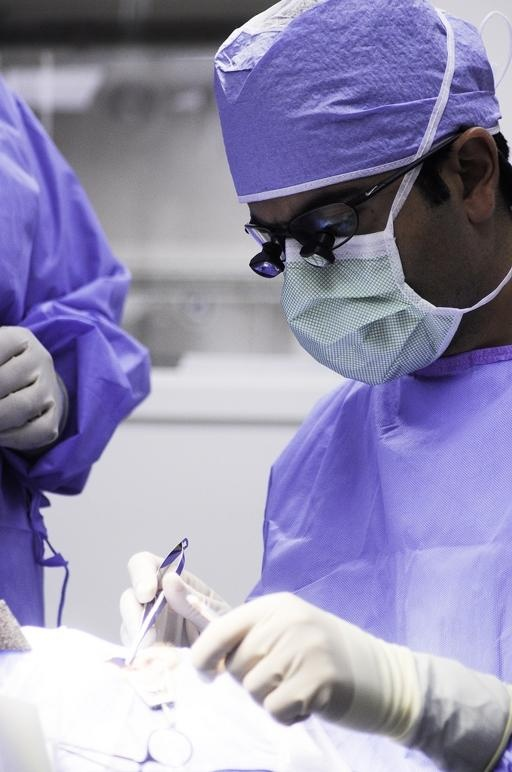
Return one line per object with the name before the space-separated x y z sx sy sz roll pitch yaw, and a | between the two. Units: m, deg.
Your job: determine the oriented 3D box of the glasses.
glasses | 0.164 -0.273 1.408 0.194 0.159 0.262 -14 23 -30
